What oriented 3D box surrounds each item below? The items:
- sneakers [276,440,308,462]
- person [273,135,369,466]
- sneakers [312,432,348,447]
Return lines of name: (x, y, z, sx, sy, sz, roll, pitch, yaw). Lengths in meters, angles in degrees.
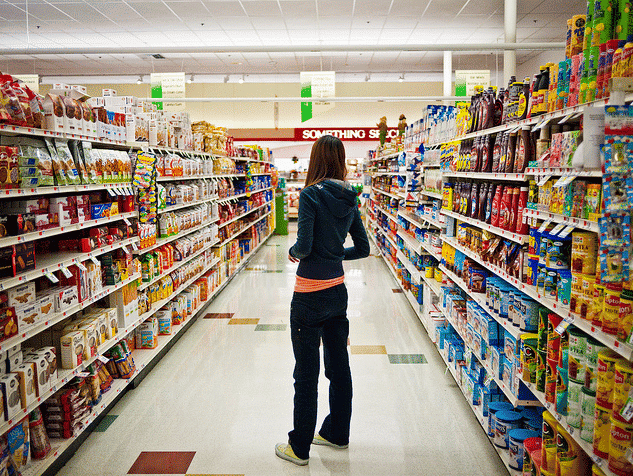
sneakers: (-0.171, 1.414, 2.974, 0.101, 0.101, 0.222, 3, 10, -43)
person: (0.045, 0.407, 2.890, 0.582, 2.099, 0.326, -7, 11, -40)
sneakers: (0.093, 1.416, 3.128, 0.243, 0.107, 0.094, 5, 2, 20)
